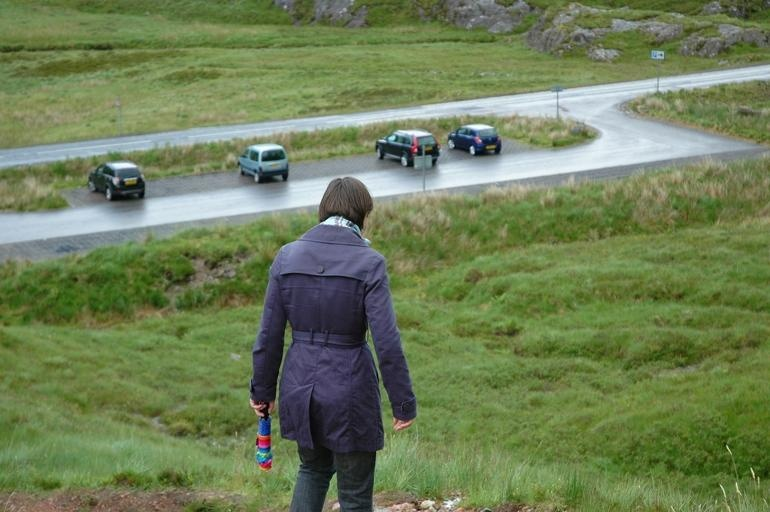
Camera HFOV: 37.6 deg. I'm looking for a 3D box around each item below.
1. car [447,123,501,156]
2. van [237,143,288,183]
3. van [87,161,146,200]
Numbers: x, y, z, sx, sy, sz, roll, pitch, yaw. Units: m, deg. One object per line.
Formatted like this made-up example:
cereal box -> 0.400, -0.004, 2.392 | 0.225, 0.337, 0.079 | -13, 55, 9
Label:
car -> 6.422, -8.456, 81.810 | 1.364, 2.105, 4.012 | -12, 20, -43
van -> -8.435, -6.568, 77.443 | 1.935, 1.928, 3.459 | -8, 23, -22
van -> -17.998, -5.133, 75.106 | 1.901, 1.777, 3.922 | -6, 21, -28
